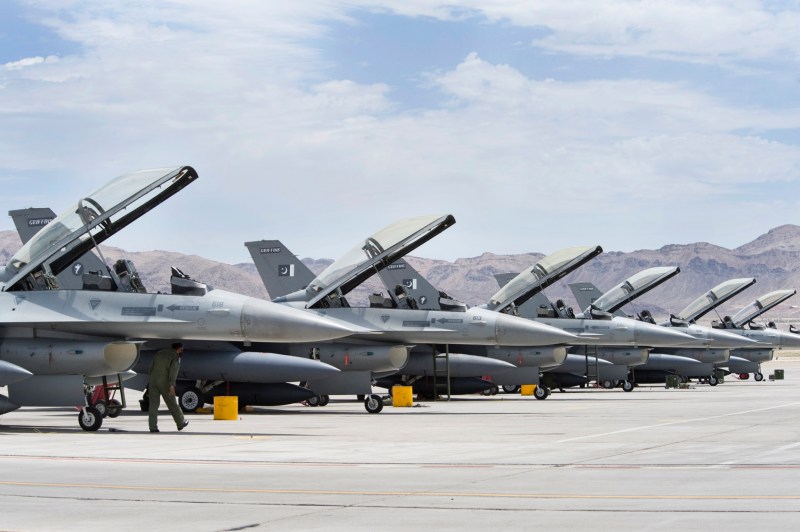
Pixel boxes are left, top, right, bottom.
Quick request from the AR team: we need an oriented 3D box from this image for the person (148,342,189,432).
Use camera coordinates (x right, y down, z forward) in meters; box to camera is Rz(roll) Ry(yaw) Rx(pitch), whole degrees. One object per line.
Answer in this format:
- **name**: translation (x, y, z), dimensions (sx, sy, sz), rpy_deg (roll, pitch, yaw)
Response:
- **person**: translation (-5.703, 2.965, 25.493), dimensions (0.924, 2.159, 1.025), rpy_deg (3, -2, -9)
